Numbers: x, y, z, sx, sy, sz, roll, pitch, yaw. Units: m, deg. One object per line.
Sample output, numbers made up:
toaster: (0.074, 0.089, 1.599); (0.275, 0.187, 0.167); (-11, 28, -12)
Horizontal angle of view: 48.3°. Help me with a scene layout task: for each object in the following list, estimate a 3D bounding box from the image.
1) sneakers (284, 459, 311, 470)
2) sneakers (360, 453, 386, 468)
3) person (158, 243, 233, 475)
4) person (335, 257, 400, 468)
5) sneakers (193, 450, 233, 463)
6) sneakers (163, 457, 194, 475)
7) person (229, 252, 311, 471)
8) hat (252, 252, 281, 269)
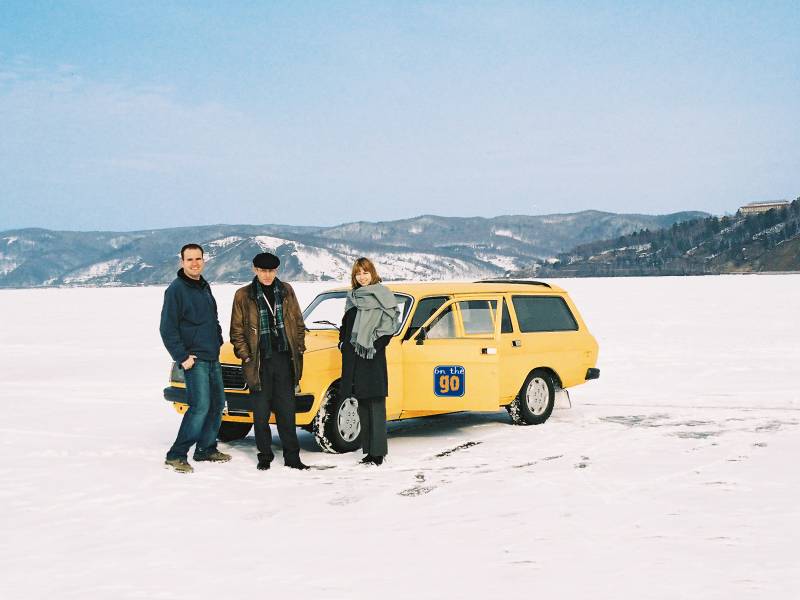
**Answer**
sneakers: (-1.240, 2.000, 10.754); (0.340, 0.148, 0.116); (0, 7, -29)
sneakers: (-0.336, 1.986, 10.954); (0.322, 0.147, 0.118); (5, -4, -12)
person: (-2.437, 0.684, 10.554); (0.679, 2.703, 0.884); (-2, 2, -11)
person: (-0.361, 0.756, 10.790); (0.725, 2.547, 0.528); (-2, 2, -4)
sneakers: (-2.320, 1.957, 11.146); (0.470, 0.214, 0.174); (1, 4, -9)
sneakers: (-2.630, 1.977, 10.621); (0.364, 0.154, 0.139); (3, 9, 31)
person: (-1.543, 0.755, 10.539); (0.871, 2.624, 0.547); (-2, 2, -10)
hat: (-1.558, -0.469, 10.490); (0.272, 0.201, 0.552); (-2, 3, -5)
